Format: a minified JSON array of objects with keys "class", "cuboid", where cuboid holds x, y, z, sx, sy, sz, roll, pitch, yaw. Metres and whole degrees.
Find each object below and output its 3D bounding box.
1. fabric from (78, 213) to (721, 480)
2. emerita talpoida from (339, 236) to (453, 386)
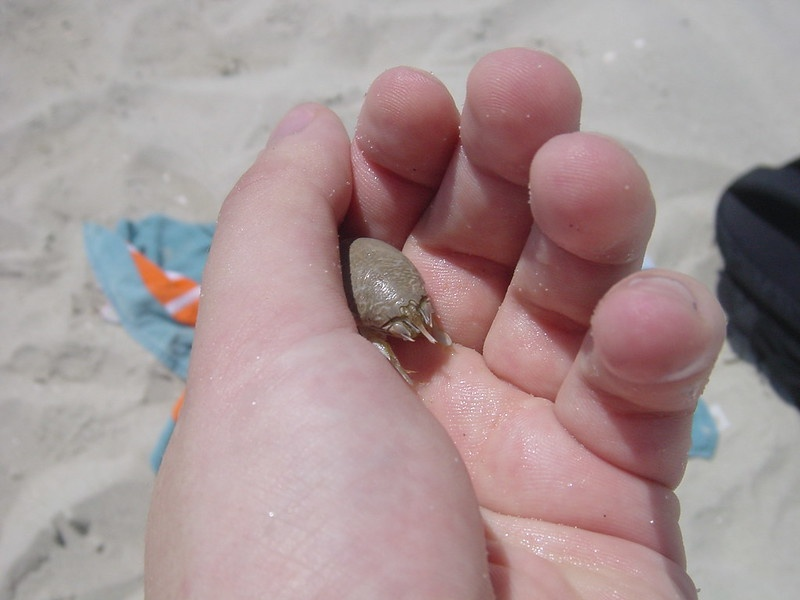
[{"class":"fabric","cuboid":[0.013,0.207,3.626,0.610,0.872,1.056,0,101,7]},{"class":"emerita talpoida","cuboid":[-0.050,-0.012,3.874,0.330,0.209,0.643,-28,63,-17]}]
